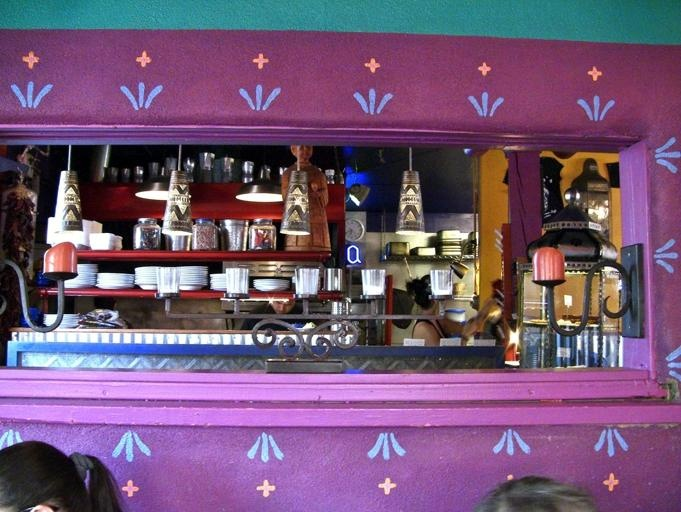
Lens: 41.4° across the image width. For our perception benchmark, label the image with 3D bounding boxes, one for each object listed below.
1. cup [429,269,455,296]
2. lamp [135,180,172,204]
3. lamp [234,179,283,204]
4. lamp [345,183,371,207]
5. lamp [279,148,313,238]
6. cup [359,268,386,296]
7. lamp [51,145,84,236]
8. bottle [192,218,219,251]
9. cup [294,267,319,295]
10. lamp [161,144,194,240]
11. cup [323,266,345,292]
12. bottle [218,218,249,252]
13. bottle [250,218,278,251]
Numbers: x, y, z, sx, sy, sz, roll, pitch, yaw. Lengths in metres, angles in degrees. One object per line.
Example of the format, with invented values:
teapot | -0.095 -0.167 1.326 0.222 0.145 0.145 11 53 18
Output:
cup | 0.494 0.125 4.305 0.124 0.121 0.108 2 -2 -26
lamp | -1.320 -0.469 6.455 0.363 0.175 0.363 1 4 1
lamp | -0.580 -0.462 6.389 0.342 0.185 0.252 11 18 37
lamp | 0.141 -0.576 8.456 0.190 0.219 0.241 0 8 -43
lamp | -0.207 -0.403 4.484 0.139 0.585 0.137 1 -9 12
cup | 0.154 0.127 4.348 0.119 0.123 0.122 1 -1 0
lamp | -1.595 -0.440 5.211 0.140 0.446 1.754 -5 15 -16
bottle | -1.015 -0.153 6.779 0.245 0.269 0.198 1 -5 -7
cup | -0.148 0.123 4.390 0.125 0.133 0.127 0 -3 0
lamp | -0.787 -0.376 4.401 0.122 0.494 0.132 -1 -7 19
cup | -0.033 0.129 4.967 0.128 0.136 0.124 0 -3 0
bottle | -0.824 -0.170 7.007 0.216 0.229 0.239 -2 14 -8
bottle | -0.600 -0.162 6.842 0.208 0.251 0.189 0 14 1
